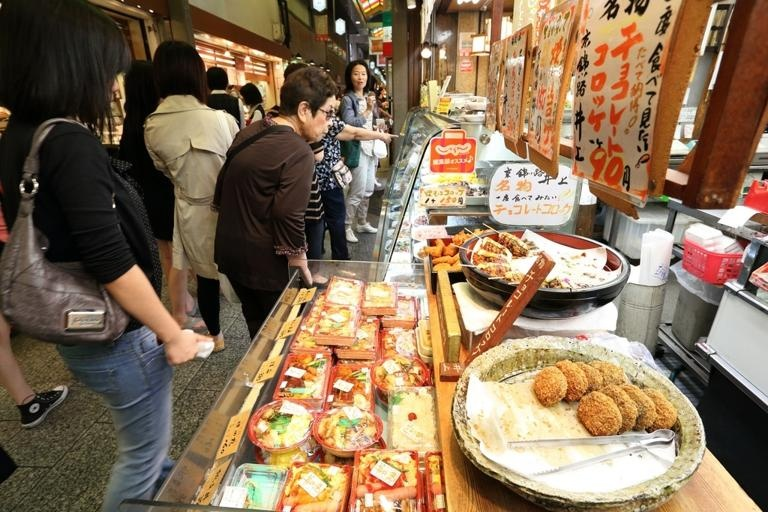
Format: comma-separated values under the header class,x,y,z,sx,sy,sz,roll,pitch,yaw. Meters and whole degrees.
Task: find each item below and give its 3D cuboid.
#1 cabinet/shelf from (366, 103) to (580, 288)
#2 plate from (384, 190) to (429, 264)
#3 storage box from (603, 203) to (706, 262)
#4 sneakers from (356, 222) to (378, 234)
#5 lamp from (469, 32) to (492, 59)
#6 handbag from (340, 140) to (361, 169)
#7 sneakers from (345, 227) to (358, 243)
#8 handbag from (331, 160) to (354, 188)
class,x,y,z,sx,sy,sz,roll,pitch,yaw
cabinet/shelf,0.537,-0.352,2.662,0.535,1.024,1.466,1,17,0
plate,0.192,-0.186,3.389,0.122,0.463,0.502,21,-17,-40
storage box,2.148,-0.182,3.507,0.571,0.342,0.560,-2,21,-8
sneakers,-0.246,-0.409,6.331,0.336,0.147,0.169,0,17,-2
lamp,1.251,-2.738,5.748,0.218,0.241,0.542,5,24,7
handbag,-0.426,-1.343,5.771,0.286,0.482,0.374,-5,18,-19
sneakers,-0.451,-0.290,6.002,0.108,0.120,0.300,-9,22,-27
handbag,-0.364,-0.737,4.123,0.084,0.252,0.193,-2,53,7
